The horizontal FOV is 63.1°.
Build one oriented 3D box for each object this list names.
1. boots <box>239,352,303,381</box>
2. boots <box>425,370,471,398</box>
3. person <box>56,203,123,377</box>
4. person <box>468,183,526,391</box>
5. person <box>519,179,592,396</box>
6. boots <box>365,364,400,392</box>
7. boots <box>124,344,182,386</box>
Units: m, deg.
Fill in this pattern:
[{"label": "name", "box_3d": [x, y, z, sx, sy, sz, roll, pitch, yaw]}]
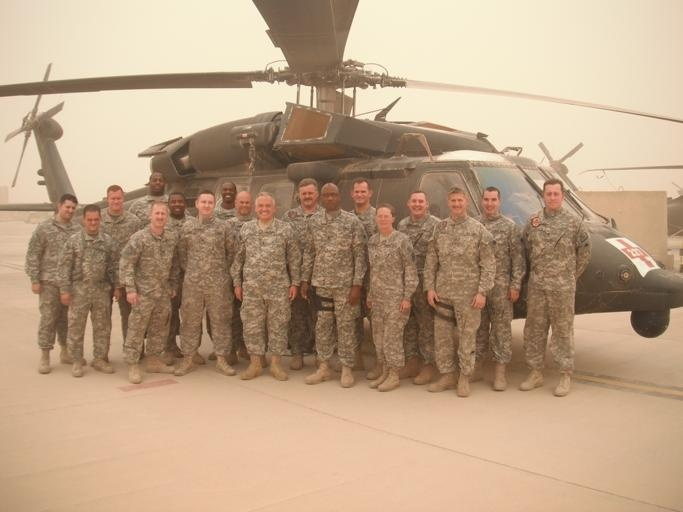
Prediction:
[{"label": "boots", "box_3d": [-0.855, 1.258, 6.134, 0.415, 0.363, 0.325, 0, -22, -3]}, {"label": "boots", "box_3d": [1.121, 1.232, 5.634, 0.417, 0.222, 0.507, 2, 6, 25]}, {"label": "person", "box_3d": [-2.806, 0.367, 6.212, 0.620, 1.867, 0.397, -3, 6, -26]}, {"label": "person", "box_3d": [1.581, 0.320, 5.611, 0.453, 2.028, 0.368, 2, 6, 26]}, {"label": "person", "box_3d": [2.073, 0.294, 5.460, 0.607, 2.086, 0.401, 2, 6, 25]}, {"label": "boots", "box_3d": [0.439, 1.219, 5.754, 0.305, 0.245, 0.422, 0, 5, 4]}, {"label": "boots", "box_3d": [-2.100, 1.250, 6.116, 0.478, 0.182, 0.278, -1, 6, -11]}]
